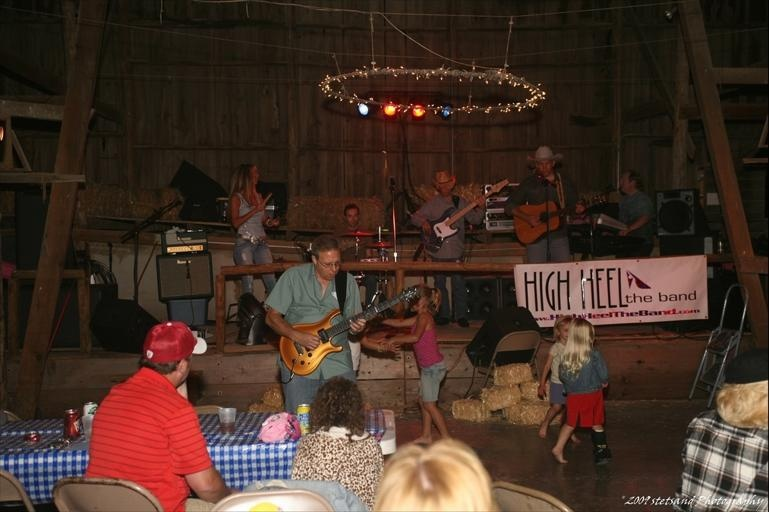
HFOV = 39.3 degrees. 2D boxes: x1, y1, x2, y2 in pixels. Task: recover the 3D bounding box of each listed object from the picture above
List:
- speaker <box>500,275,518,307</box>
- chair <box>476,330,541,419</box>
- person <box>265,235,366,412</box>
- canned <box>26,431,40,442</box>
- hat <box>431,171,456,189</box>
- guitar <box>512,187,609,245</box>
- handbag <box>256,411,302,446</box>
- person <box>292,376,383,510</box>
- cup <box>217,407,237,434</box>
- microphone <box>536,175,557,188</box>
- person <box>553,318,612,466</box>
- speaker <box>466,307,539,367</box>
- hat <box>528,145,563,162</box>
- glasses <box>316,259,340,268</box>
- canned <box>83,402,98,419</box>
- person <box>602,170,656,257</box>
[{"bbox_3d":[2.254,0.651,19.433,0.273,0.505,0.200,0,-3,-10],"label":"speaker"},{"bbox_3d":[2.192,1.710,18.331,0.885,1.575,1.122,-5,27,-11],"label":"chair"},{"bbox_3d":[-0.962,1.325,15.796,1.298,3.328,0.989,-5,27,-13],"label":"person"},{"bbox_3d":[-4.733,2.440,14.483,0.128,0.123,0.131,3,0,-29],"label":"canned"},{"bbox_3d":[1.124,-1.419,20.509,0.526,0.249,0.608,-5,8,4],"label":"hat"},{"bbox_3d":[3.107,-0.701,19.148,1.851,0.915,0.275,-18,-7,15],"label":"guitar"},{"bbox_3d":[-1.396,2.292,14.290,0.427,0.384,0.429,-8,5,28],"label":"handbag"},{"bbox_3d":[-0.580,2.370,13.648,1.123,1.610,0.424,-1,-3,-1],"label":"person"},{"bbox_3d":[-2.137,2.251,14.660,0.261,0.324,0.277,0,1,0],"label":"cup"},{"bbox_3d":[2.860,-1.306,18.919,0.312,0.231,0.270,-1,-4,5],"label":"microphone"},{"bbox_3d":[2.973,2.082,16.488,0.825,2.245,0.732,-4,11,3],"label":"person"},{"bbox_3d":[2.038,1.366,18.028,0.841,1.138,1.116,0,0,-28],"label":"speaker"},{"bbox_3d":[3.104,-1.940,20.652,0.662,0.332,0.751,-3,6,14],"label":"hat"},{"bbox_3d":[-0.798,0.126,15.265,0.331,0.122,0.121,0,-3,-7],"label":"glasses"},{"bbox_3d":[-4.027,2.114,14.734,0.175,0.189,0.185,3,-3,-16],"label":"canned"},{"bbox_3d":[4.380,-0.738,19.544,0.950,1.580,1.028,-1,2,35],"label":"person"}]
